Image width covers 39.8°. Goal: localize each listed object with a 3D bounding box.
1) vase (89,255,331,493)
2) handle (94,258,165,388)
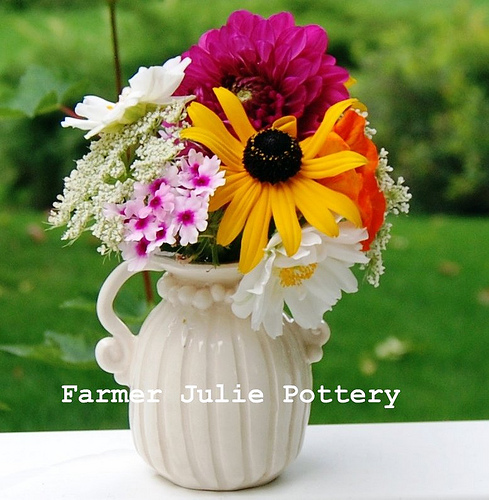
[{"bbox_3d":[-0.097,0.097,0.961,0.409,0.288,0.315,2,96,20],"label":"vase"},{"bbox_3d":[-0.143,0.087,0.894,0.098,0.145,0.122,-8,24,-34],"label":"handle"}]
